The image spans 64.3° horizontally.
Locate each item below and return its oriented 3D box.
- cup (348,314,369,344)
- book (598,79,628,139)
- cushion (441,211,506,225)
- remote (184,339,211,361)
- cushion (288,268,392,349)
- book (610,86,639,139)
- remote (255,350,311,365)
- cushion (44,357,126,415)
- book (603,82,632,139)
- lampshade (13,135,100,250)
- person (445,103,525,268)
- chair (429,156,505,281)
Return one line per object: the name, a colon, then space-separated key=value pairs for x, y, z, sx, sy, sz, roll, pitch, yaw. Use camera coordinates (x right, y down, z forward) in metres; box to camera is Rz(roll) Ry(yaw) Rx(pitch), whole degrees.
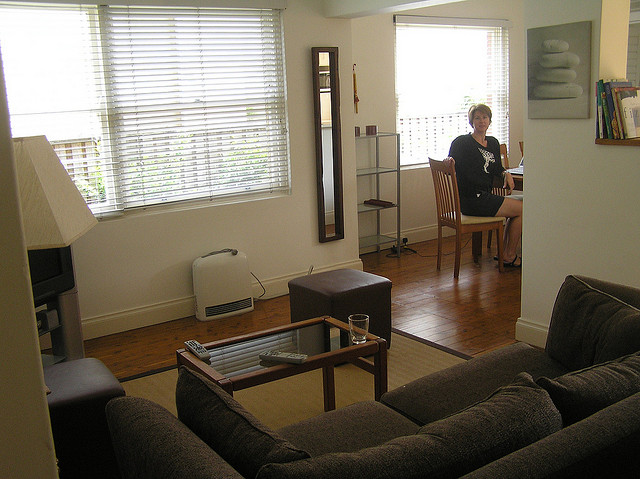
cup: x=0.193 y=0.435 z=2.476 sx=0.116 sy=0.131 sz=0.116 roll=-4 pitch=5 yaw=0
book: x=1.580 y=-0.727 z=2.810 sx=0.062 sy=0.270 sz=0.269 roll=-5 pitch=-11 yaw=18
cushion: x=1.467 y=-0.206 z=4.865 sx=0.594 sy=0.110 sz=0.247 roll=0 pitch=14 yaw=11
remote: x=-0.562 y=0.512 z=2.331 sx=0.061 sy=0.025 sz=0.119 roll=-8 pitch=34 yaw=-45
cushion: x=0.107 y=0.494 z=3.462 sx=0.795 sy=0.497 sz=0.804 roll=-2 pitch=6 yaw=-4
book: x=1.624 y=-0.691 z=2.773 sx=0.056 sy=0.236 sz=0.234 roll=-6 pitch=7 yaw=-2
remote: x=-0.162 y=0.517 z=2.260 sx=0.168 sy=0.023 sz=0.082 roll=2 pitch=8 yaw=22
cushion: x=-0.981 y=0.609 z=2.152 sx=0.301 sy=0.130 sz=0.320 roll=-6 pitch=17 yaw=-28
book: x=1.604 y=-0.715 z=2.801 sx=0.059 sy=0.257 sz=0.258 roll=-13 pitch=31 yaw=20
lampshade: x=-1.126 y=-0.217 z=2.168 sx=0.266 sy=0.439 sz=0.375 roll=-9 pitch=15 yaw=-25
person: x=1.683 y=-0.533 z=5.042 sx=1.058 sy=1.661 sz=0.841 roll=-4 pitch=13 yaw=2
chair: x=1.426 y=-0.245 z=4.950 sx=0.701 sy=1.081 sz=0.790 roll=-2 pitch=14 yaw=2
